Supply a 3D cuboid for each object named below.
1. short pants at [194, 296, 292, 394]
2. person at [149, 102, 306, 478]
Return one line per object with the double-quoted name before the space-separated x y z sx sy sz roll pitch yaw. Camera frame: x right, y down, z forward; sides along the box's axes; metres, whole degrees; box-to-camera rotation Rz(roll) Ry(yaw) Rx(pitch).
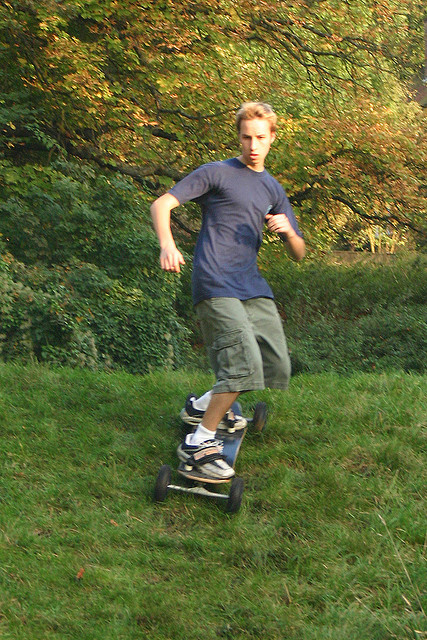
"short pants" 0.200 0.140 3.711 0.624 0.547 0.399 4 4 -17
"person" 0.116 -0.190 3.656 1.068 2.040 0.481 2 6 -42
